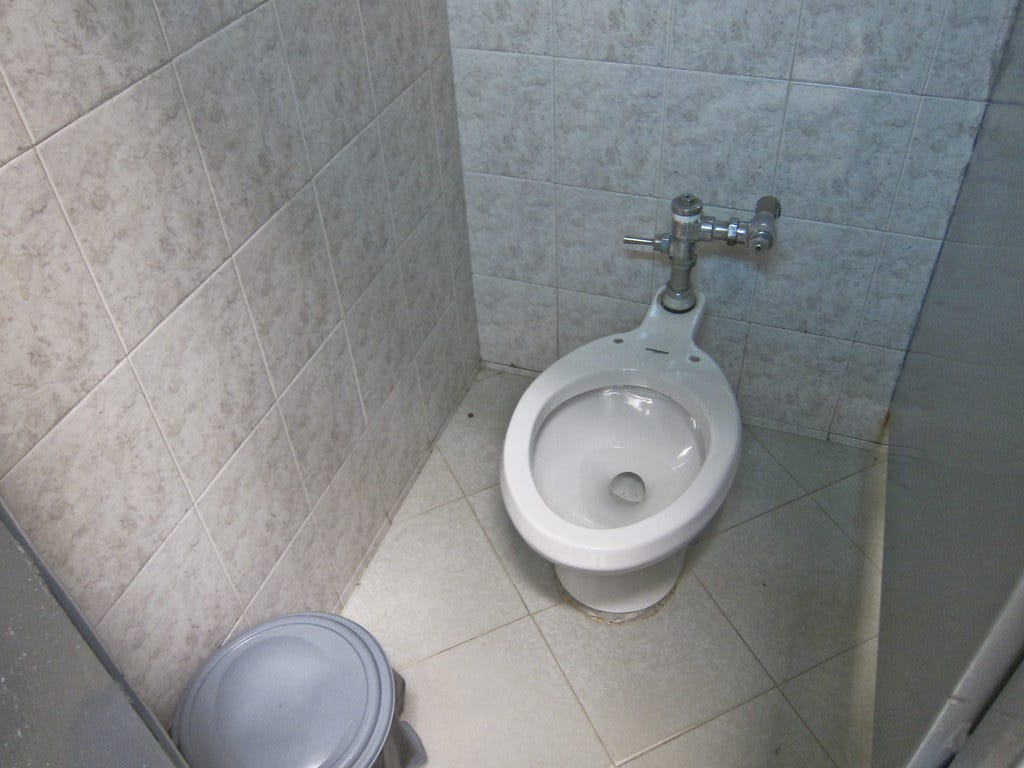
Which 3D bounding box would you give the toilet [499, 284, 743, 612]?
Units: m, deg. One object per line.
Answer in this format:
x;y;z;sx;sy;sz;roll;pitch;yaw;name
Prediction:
0.275;0.183;1.794;0.444;0.382;0.777;4;47;18;toilet
